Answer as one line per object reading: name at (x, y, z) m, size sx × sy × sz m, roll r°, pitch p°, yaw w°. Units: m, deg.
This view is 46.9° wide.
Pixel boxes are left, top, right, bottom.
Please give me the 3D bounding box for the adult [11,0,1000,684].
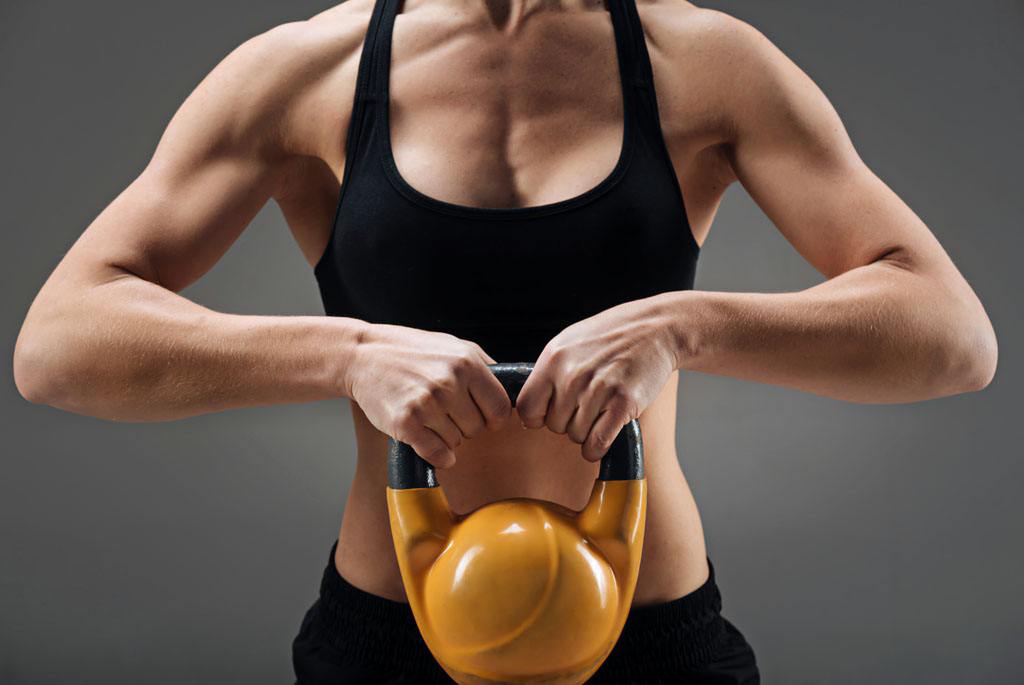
adult at (-0.014, -0.054, 1.892) m, size 1.036 × 0.520 × 1.300 m, roll -1°, pitch 74°, yaw -4°
